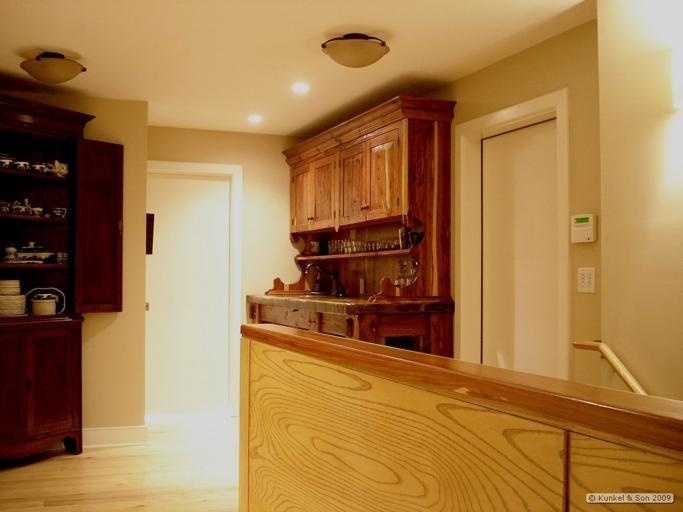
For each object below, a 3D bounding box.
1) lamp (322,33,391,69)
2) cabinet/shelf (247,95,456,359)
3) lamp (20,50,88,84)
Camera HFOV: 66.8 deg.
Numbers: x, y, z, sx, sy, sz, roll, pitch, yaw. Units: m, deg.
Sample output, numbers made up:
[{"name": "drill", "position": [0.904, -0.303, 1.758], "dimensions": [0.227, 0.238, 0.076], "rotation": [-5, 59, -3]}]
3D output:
[{"name": "lamp", "position": [0.100, -1.347, 3.375], "dimensions": [0.452, 0.188, 0.225], "rotation": [-3, 4, -4]}, {"name": "cabinet/shelf", "position": [0.107, -0.307, 4.325], "dimensions": [0.778, 2.027, 2.063], "rotation": [3, -3, -29]}, {"name": "lamp", "position": [-2.039, -1.339, 3.677], "dimensions": [0.384, 0.178, 0.311], "rotation": [-5, 5, -28]}]
